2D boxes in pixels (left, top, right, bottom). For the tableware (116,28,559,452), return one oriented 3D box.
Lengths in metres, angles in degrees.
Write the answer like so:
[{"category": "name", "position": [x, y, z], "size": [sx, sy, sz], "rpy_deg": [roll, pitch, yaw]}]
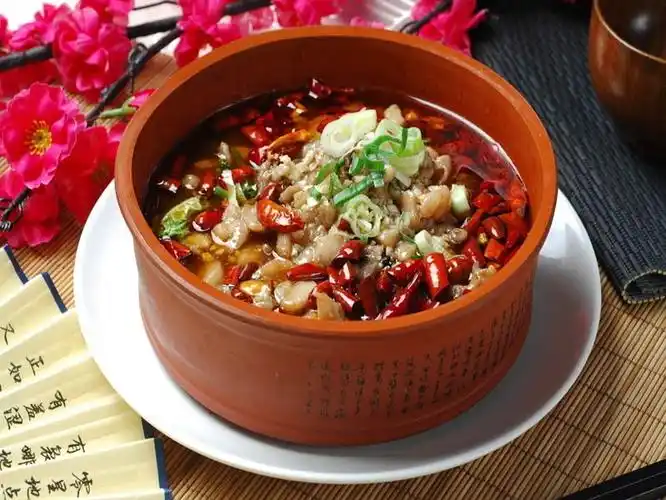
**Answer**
[{"category": "tableware", "position": [-0.001, -0.150, 2.268], "size": [1.608, 0.647, 1.684], "rpy_deg": [6, 71, 5]}]
